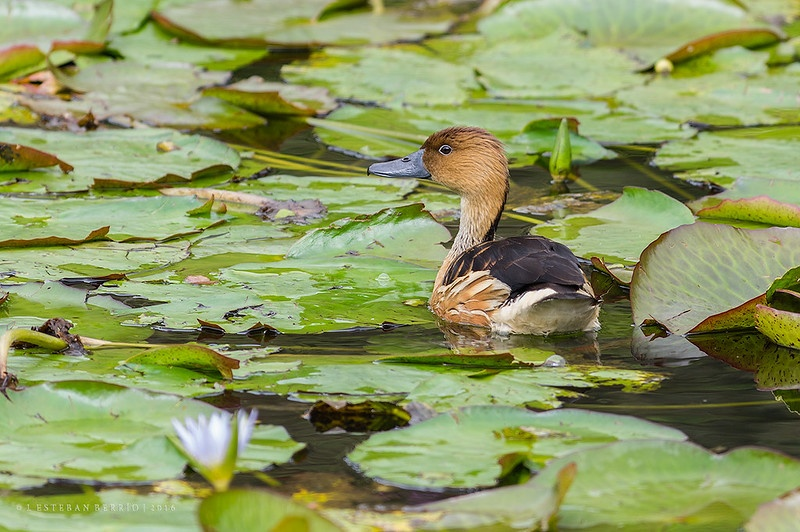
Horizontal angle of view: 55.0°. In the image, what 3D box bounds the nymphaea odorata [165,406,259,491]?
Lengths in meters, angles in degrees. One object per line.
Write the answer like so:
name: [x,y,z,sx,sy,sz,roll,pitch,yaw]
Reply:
nymphaea odorata: [-0.738,0.791,3.289,0.318,0.384,0.393,-13,31,-23]
